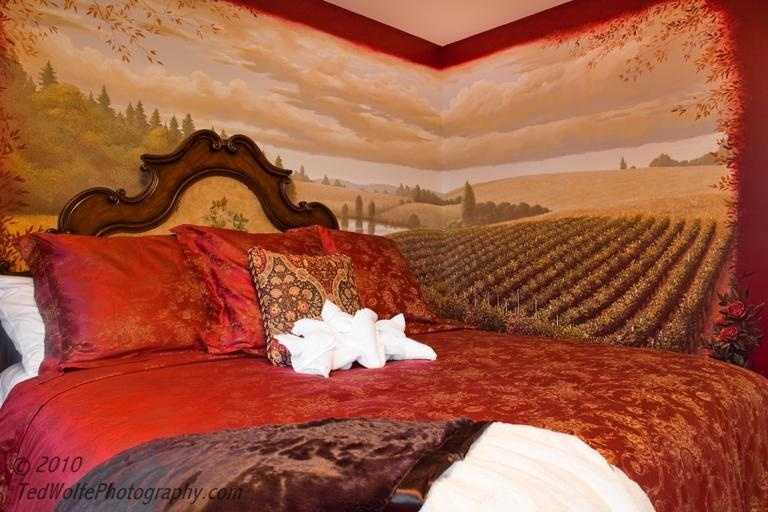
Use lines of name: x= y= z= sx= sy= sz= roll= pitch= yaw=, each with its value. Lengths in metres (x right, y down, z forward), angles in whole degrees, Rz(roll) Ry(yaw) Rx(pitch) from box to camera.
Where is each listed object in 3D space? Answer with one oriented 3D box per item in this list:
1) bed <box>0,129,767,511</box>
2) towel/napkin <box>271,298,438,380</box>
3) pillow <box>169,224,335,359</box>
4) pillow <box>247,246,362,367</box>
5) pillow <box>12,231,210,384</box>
bed: x=0.044 y=0.219 z=2.386 sx=2.205 sy=1.237 sz=2.193 roll=-3 pitch=-5 yaw=36
towel/napkin: x=-0.182 y=0.390 z=2.236 sx=0.478 sy=0.144 sz=0.439 roll=1 pitch=1 yaw=-34
pillow: x=-0.732 y=0.159 z=2.491 sx=0.722 sy=0.657 sz=0.205 roll=-2 pitch=-18 yaw=-37
pillow: x=-0.426 y=0.229 z=2.411 sx=0.609 sy=0.535 sz=0.177 roll=-2 pitch=-20 yaw=-40
pillow: x=-1.287 y=0.191 z=2.357 sx=0.737 sy=0.690 sz=0.387 roll=-3 pitch=0 yaw=-36
